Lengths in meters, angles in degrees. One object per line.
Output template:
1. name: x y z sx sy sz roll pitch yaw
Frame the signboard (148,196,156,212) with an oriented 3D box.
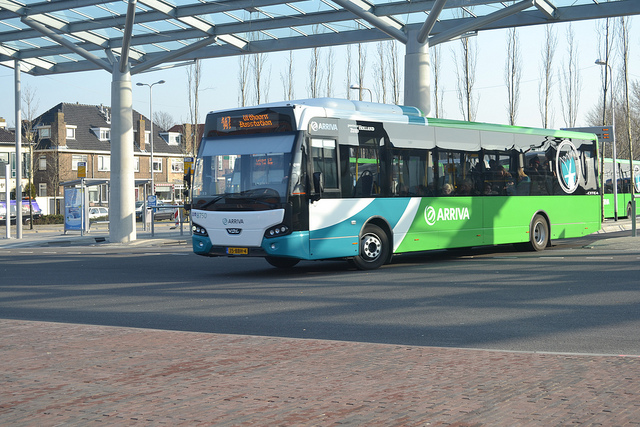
1. signboard: -7.927 -0.563 33.282 0.534 0.533 0.374 2 -5 -31

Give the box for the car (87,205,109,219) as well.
1. car: -15.724 -0.120 50.060 1.672 0.811 0.893 5 -5 -43

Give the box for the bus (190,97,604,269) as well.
1. bus: 3.695 -0.801 21.509 15.293 4.212 4.514 1 -2 -43

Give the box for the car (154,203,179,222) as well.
1. car: -12.383 -0.115 56.885 2.345 1.208 1.259 5 -6 -38
